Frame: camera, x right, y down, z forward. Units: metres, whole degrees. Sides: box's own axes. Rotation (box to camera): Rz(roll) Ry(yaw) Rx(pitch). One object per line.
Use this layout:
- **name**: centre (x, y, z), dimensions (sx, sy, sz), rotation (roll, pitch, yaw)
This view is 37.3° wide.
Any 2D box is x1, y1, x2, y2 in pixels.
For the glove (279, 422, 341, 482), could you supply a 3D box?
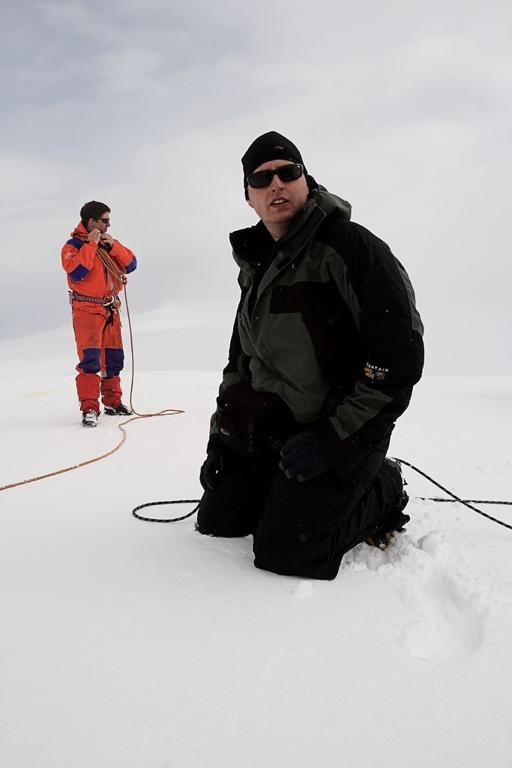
- **glove**: centre (0.160, 0.223, 2.390), dimensions (0.184, 0.174, 0.090), rotation (1, 8, 14)

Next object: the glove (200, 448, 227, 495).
- **glove**: centre (-0.173, 0.318, 2.761), dimensions (0.123, 0.143, 0.047), rotation (8, 1, -38)

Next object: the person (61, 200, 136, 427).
- **person**: centre (-1.136, -0.541, 5.559), dimensions (0.474, 1.598, 0.991), rotation (-2, 7, -6)

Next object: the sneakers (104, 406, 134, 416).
- **sneakers**: centre (-1.038, 0.206, 5.757), dimensions (0.220, 0.091, 0.078), rotation (-1, 2, 3)

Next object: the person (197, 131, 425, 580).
- **person**: centre (0.144, -0.156, 2.584), dimensions (0.663, 1.421, 0.827), rotation (-4, 8, -19)
